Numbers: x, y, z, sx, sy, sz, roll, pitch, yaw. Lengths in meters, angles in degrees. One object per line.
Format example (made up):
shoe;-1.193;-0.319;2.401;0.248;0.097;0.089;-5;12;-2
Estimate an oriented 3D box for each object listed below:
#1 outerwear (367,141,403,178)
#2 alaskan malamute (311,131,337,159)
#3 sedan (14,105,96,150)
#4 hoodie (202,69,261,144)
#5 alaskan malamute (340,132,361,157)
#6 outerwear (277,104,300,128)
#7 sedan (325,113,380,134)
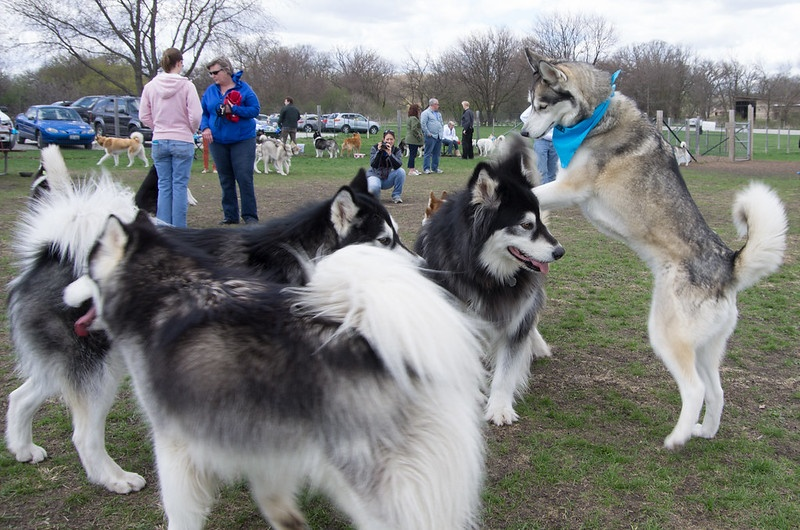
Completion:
outerwear;-0.311;-2.044;12.198;0.527;0.686;0.629;1;30;-9
alaskan malamute;-2.737;-4.503;24.234;0.814;0.856;2.945;-2;13;-6
sedan;-11.267;-4.561;21.436;1.925;1.377;2.262;-8;15;-32
hoodie;-2.362;-2.177;9.001;0.683;0.955;0.479;6;14;27
alaskan malamute;-1.879;-4.594;24.766;0.761;0.784;1.573;-2;12;-6
outerwear;-3.616;-4.901;21.390;0.660;0.785;0.506;-7;14;-29
sedan;-2.686;-8.026;36.656;2.927;1.155;2.887;-3;13;-12
